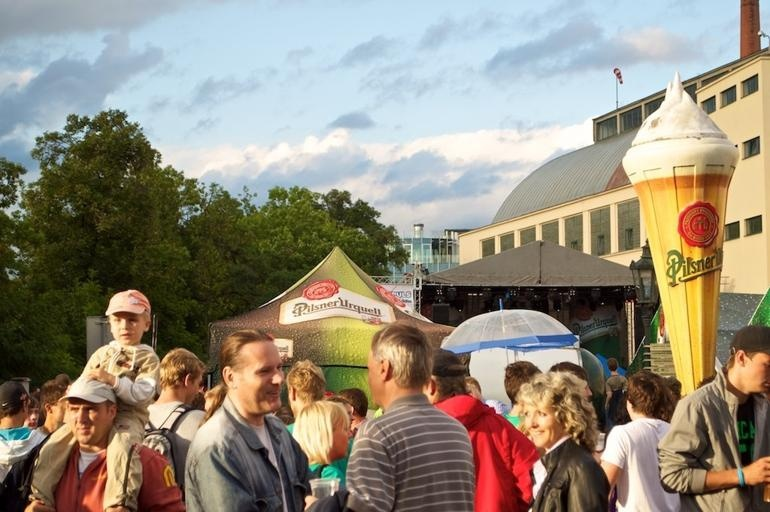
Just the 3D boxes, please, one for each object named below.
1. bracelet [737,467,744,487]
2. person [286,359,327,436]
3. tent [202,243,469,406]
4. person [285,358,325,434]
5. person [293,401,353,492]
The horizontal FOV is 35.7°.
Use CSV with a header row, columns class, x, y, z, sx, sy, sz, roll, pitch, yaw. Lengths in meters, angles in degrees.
class,x,y,z,sx,sy,sz,roll,pitch,yaw
bracelet,5.081,3.143,17.112,0.053,0.207,0.201,-4,2,4
person,-1.117,2.140,18.160,0.702,1.138,0.691,-4,-15,-9
tent,-1.084,1.252,29.532,6.368,3.217,6.716,5,18,3
person,-1.160,2.062,18.289,0.711,1.106,0.605,-8,14,-15
person,-0.902,2.752,17.711,0.721,1.259,0.984,-1,3,-1
